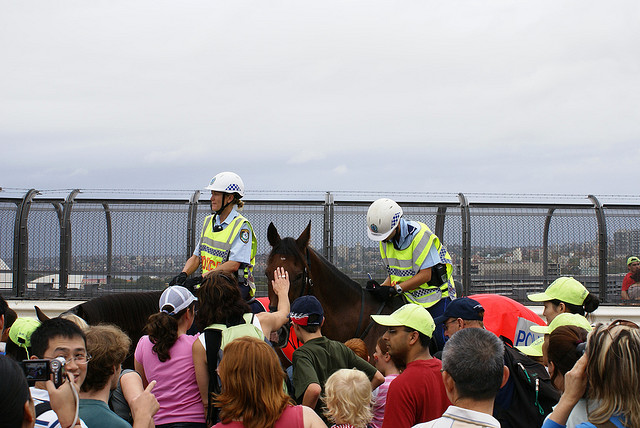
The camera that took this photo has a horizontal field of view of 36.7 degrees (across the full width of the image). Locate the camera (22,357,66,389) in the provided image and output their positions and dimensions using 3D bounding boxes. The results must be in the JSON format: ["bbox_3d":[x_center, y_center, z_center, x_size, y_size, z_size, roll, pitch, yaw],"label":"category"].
[{"bbox_3d":[-2.819,1.639,9.829,0.423,0.301,0.088,-1,0,-16],"label":"camera"}]

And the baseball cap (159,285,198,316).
[{"bbox_3d":[-1.735,0.991,11.401,0.364,0.279,0.502,2,15,13],"label":"baseball cap"}]

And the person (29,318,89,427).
[{"bbox_3d":[-2.758,1.702,10.193,0.607,1.135,0.547,-1,0,-14],"label":"person"}]

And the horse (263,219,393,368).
[{"bbox_3d":[0.069,1.117,13.179,2.726,1.964,0.695,20,-31,-34],"label":"horse"}]

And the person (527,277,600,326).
[{"bbox_3d":[3.144,1.084,12.548,0.937,0.559,0.572,7,-11,8],"label":"person"}]
